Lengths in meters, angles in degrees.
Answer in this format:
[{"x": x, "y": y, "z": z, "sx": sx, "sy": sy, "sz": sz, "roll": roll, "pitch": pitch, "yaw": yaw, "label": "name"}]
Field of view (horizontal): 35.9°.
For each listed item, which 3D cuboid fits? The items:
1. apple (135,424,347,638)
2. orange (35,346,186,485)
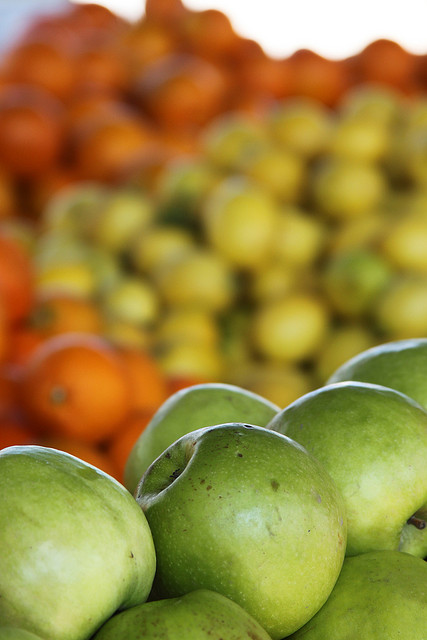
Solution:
[{"x": 0.033, "y": 0.164, "z": 0.580, "sx": 0.165, "sy": 0.167, "sz": 0.161, "roll": 13, "pitch": 62, "yaw": 23, "label": "apple"}, {"x": -0.122, "y": 0.098, "z": 1.036, "sx": 0.233, "sy": 0.201, "sz": 0.260, "roll": -5, "pitch": 2, "yaw": -29, "label": "orange"}]
